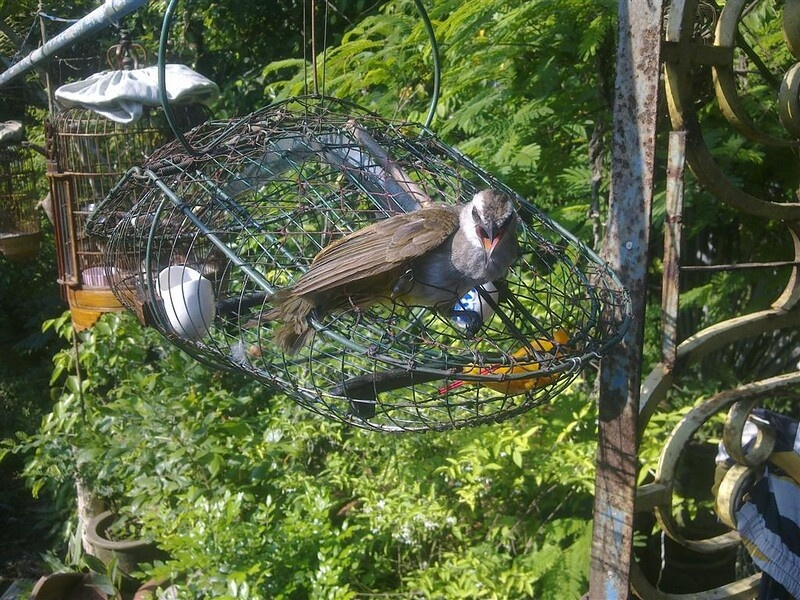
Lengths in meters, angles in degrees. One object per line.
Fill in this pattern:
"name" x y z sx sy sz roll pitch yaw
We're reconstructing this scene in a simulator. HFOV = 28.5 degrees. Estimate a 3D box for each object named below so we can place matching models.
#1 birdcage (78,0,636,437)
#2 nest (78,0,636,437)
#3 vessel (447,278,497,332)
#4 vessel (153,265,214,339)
"birdcage" -0.183 -0.436 9.083 2.154 1.974 1.160 19 35 33
"nest" -0.183 -0.436 9.083 2.154 1.974 1.160 19 35 33
"vessel" 0.409 0.029 8.716 0.265 0.266 0.425 -8 0 9
"vessel" -1.236 -0.007 8.988 0.310 0.419 0.414 -9 39 -22
